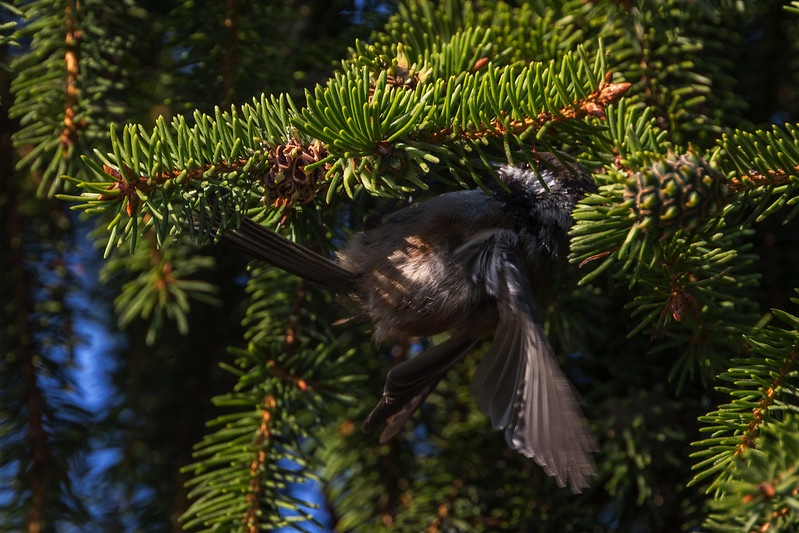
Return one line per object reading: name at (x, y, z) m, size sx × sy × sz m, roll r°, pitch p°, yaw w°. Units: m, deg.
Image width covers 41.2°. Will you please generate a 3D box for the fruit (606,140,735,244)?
fruit at (0.899, -0.212, 3.403) m, size 0.302 × 0.413 × 0.304 m, roll 12°, pitch 73°, yaw -6°
